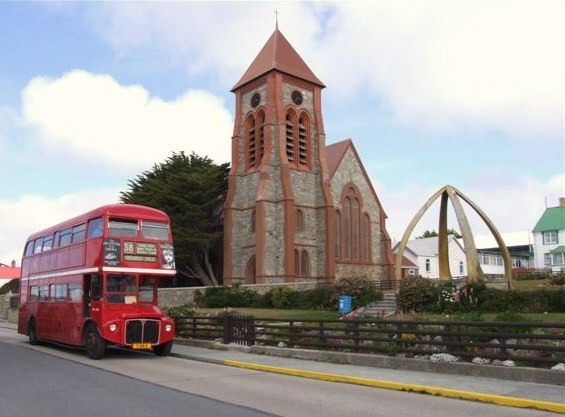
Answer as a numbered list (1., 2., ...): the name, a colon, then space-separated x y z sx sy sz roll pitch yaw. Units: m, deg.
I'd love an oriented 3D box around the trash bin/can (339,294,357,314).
1. trash bin/can: 4.772 6.948 36.012 1.122 1.183 1.128 5 -10 -30
